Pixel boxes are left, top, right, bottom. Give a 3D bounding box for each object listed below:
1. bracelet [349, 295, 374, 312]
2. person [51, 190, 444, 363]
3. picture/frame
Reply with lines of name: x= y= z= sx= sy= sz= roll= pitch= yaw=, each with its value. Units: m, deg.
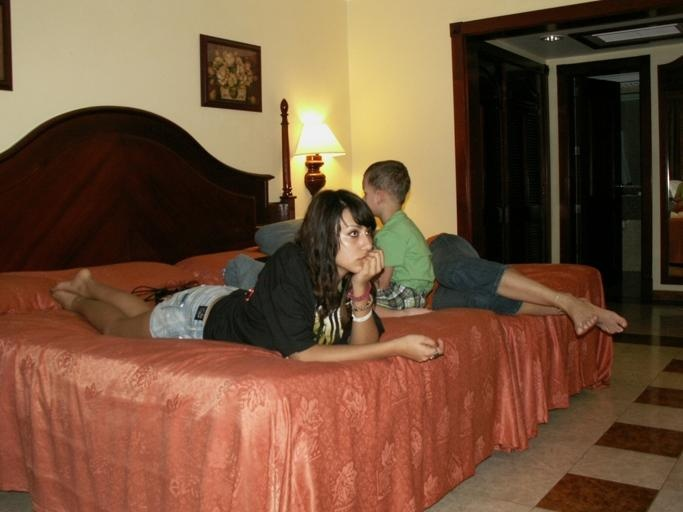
bracelet: x=0.085 y=0.166 z=1.950 sx=0.048 sy=0.041 sz=0.066 roll=-4 pitch=5 yaw=-31
person: x=-0.513 y=0.083 z=2.340 sx=1.818 sy=0.782 sz=0.591 roll=0 pitch=0 yaw=23
picture/frame: x=-0.797 y=-1.319 z=3.928 sx=0.043 sy=0.565 sz=0.618 roll=4 pitch=4 yaw=39
